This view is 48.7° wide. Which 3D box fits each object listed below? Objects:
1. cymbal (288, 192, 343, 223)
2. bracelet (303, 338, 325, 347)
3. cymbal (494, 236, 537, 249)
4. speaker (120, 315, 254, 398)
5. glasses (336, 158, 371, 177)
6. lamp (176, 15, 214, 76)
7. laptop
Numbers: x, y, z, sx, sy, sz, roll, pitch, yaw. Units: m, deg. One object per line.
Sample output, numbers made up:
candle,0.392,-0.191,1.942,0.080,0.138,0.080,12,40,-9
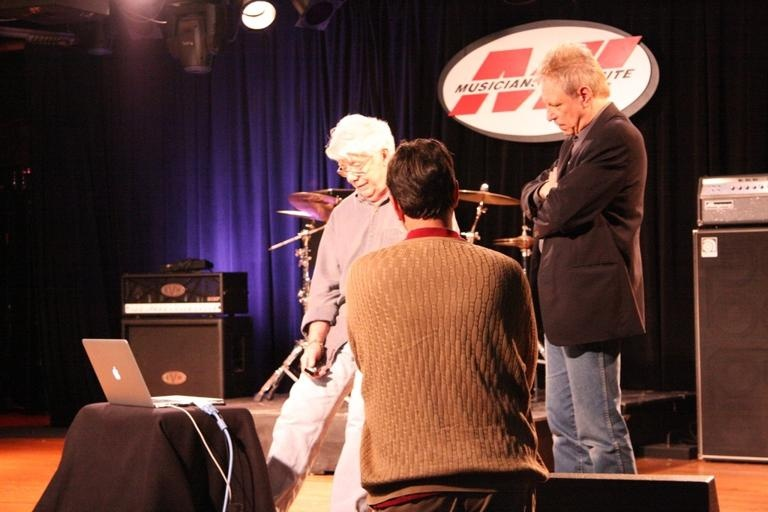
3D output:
cymbal,-0.513,-0.402,6.577,0.339,0.130,0.367,-4,-5,39
bracelet,-0.349,0.445,4.420,0.084,0.036,0.094,-1,-1,7
cymbal,1.014,-0.111,6.491,0.198,0.093,0.190,1,-3,-27
speaker,-1.589,0.807,7.028,1.105,0.803,0.638,-2,-6,14
glasses,-0.150,-0.465,4.482,0.113,0.114,0.035,-2,-36,9
lamp,-1.635,-1.823,7.316,0.330,0.452,0.206,0,6,6
laptop,-1.151,0.556,4.148,0.601,0.345,0.282,2,6,24
